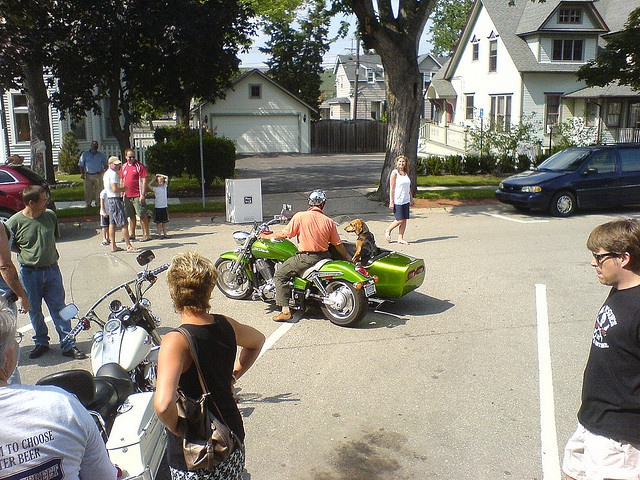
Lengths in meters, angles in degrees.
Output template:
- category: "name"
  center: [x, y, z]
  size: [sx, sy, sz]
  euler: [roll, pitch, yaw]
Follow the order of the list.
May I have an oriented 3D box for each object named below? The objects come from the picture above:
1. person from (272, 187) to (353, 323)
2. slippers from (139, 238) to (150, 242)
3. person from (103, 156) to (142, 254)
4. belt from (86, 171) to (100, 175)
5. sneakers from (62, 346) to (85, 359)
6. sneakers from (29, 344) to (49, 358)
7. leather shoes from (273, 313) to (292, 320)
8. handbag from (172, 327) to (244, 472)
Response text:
- category: "person"
  center: [-0.201, 0.168, 10.217]
  size: [1.204, 2.105, 0.898]
  euler: [4, 11, -7]
- category: "slippers"
  center: [-3.851, 0.005, 14.858]
  size: [0.075, 0.098, 0.213]
  euler: [1, -2, 36]
- category: "person"
  center: [-4.135, -0.727, 13.932]
  size: [0.536, 1.854, 1.028]
  euler: [-3, 10, -18]
- category: "belt"
  center: [-6.368, -1.849, 19.038]
  size: [0.427, 0.068, 0.146]
  euler: [-8, 13, -37]
- category: "sneakers"
  center: [-3.240, 1.489, 8.927]
  size: [0.317, 0.172, 0.140]
  euler: [0, 4, 10]
- category: "sneakers"
  center: [-3.734, 1.477, 9.060]
  size: [0.097, 0.154, 0.323]
  euler: [3, 3, 12]
- category: "leather shoes"
  center: [-0.559, 1.133, 10.040]
  size: [0.244, 0.128, 0.112]
  euler: [2, 9, -4]
- category: "handbag"
  center: [-0.890, 1.282, 5.451]
  size: [0.491, 1.110, 0.343]
  euler: [-1, 9, -7]
